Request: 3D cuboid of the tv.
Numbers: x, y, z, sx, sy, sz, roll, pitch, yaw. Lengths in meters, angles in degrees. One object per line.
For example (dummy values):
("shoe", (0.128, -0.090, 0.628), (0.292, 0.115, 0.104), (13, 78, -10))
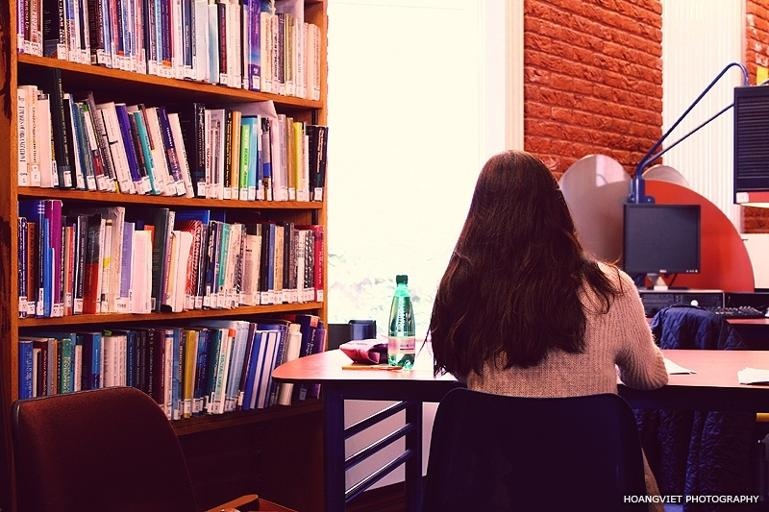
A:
("tv", (1.553, -0.078, 3.944), (0.530, 0.431, 0.054), (0, -1, -8))
